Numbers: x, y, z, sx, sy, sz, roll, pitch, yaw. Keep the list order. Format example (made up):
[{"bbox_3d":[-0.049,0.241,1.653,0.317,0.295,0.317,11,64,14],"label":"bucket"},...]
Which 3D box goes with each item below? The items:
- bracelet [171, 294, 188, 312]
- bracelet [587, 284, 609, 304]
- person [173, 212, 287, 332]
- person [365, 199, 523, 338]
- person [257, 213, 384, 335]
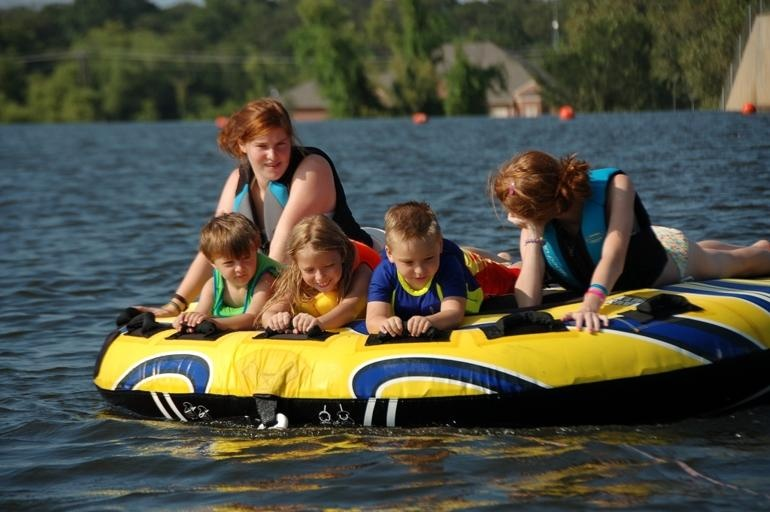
[{"bbox_3d":[-1.771,0.394,10.192,0.160,0.056,0.121,37,5,13],"label":"bracelet"},{"bbox_3d":[1.692,0.286,9.499,0.149,0.144,0.108,15,62,36],"label":"bracelet"},{"bbox_3d":[-1.308,0.181,9.877,0.733,0.919,1.231,7,12,18],"label":"person"},{"bbox_3d":[0.477,0.066,10.292,1.106,0.972,2.607,2,8,19],"label":"person"},{"bbox_3d":[-0.360,0.132,9.990,0.777,0.759,1.623,4,18,35],"label":"person"}]
